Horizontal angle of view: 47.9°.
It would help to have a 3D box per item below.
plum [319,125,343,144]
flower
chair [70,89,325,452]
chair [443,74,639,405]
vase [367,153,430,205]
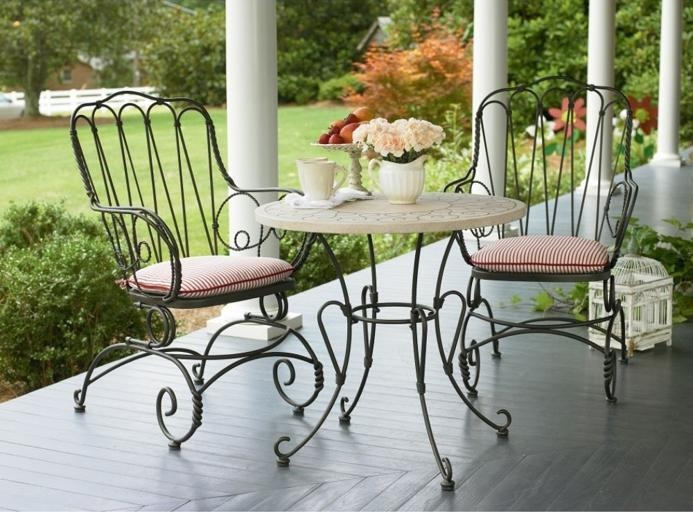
[{"bbox_3d":[-0.072,-0.501,3.245,0.101,0.065,0.143,-5,14,0],"label":"plum"},{"bbox_3d":[0.153,-0.487,3.144,0.322,0.130,0.305,-7,13,7],"label":"flower"},{"bbox_3d":[-0.686,0.008,3.485,1.034,1.356,0.976,13,15,26],"label":"chair"},{"bbox_3d":[0.923,-0.099,3.688,0.945,1.337,0.876,-3,19,16],"label":"chair"},{"bbox_3d":[0.209,-0.309,3.188,0.261,0.186,0.192,1,7,11],"label":"vase"}]
